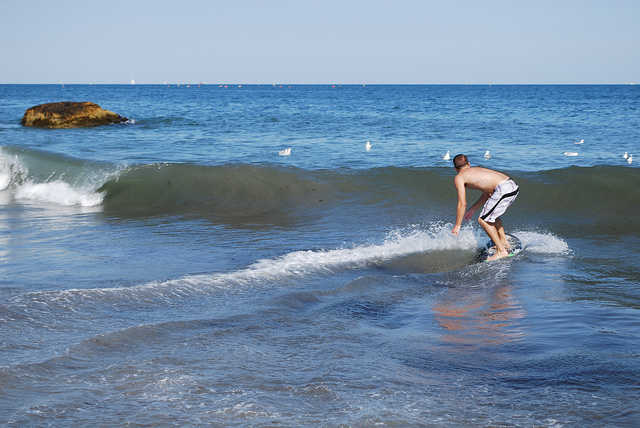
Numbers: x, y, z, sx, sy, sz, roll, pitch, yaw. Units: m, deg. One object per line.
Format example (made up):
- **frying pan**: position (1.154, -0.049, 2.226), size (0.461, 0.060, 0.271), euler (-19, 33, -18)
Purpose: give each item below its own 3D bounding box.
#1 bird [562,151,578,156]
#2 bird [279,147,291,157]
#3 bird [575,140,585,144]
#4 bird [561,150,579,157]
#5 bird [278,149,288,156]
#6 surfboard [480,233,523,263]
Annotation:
- **bird**: position (8.410, -1.974, 31.605), size (0.237, 0.086, 0.362), euler (1, 5, -13)
- **bird**: position (-1.134, -2.001, 31.365), size (0.339, 0.207, 0.547), euler (-1, 11, -1)
- **bird**: position (9.721, -2.663, 35.567), size (0.281, 0.137, 1.020), euler (3, 11, 18)
- **bird**: position (8.260, -1.969, 31.638), size (0.809, 0.165, 0.229), euler (1, 47, 3)
- **bird**: position (-1.200, -2.028, 31.847), size (0.515, 0.175, 0.550), euler (-1, 9, -11)
- **surfboard**: position (3.843, 0.751, 20.073), size (0.873, 0.248, 0.603), euler (-22, 16, -2)
